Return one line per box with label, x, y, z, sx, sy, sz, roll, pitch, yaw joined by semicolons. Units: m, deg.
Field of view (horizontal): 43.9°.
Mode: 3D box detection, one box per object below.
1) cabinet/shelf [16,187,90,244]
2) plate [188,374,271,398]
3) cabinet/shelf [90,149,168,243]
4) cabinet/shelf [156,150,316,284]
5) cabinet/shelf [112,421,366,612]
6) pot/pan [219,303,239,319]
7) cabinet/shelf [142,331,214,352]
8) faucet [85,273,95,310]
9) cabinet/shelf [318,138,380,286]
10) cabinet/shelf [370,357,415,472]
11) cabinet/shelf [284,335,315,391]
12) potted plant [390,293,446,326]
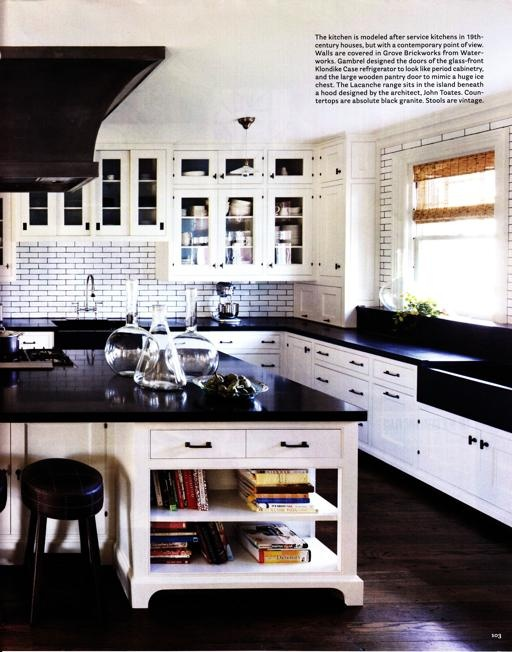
cabinet/shelf;-1.551;-0.876;4.911;0.553;0.434;0.399;1;5;-21
plate;-0.100;0.226;2.553;0.304;0.095;0.368;3;5;2
cabinet/shelf;-1.060;-1.126;5.253;0.596;0.746;0.243;-3;26;-17
cabinet/shelf;-0.142;-0.871;4.884;1.075;1.003;0.328;1;6;7
cabinet/shelf;-0.060;0.687;2.539;0.900;0.651;0.693;3;-8;-15
pot/pan;-0.242;-0.138;5.763;0.121;0.118;0.166;0;1;-6
cabinet/shelf;-0.297;0.061;2.513;0.246;0.084;0.148;1;5;-22
faucet;-1.505;-0.302;5.802;0.094;0.324;0.179;1;4;-16
cabinet/shelf;0.535;-0.647;3.547;0.251;0.947;0.568;0;6;1
cabinet/shelf;0.842;0.507;3.879;0.163;0.587;0.629;2;4;-6
cabinet/shelf;0.351;0.272;5.253;0.316;0.471;0.483;2;3;-7
potted plant;0.995;-0.109;4.129;0.275;0.210;0.397;1;5;-17
